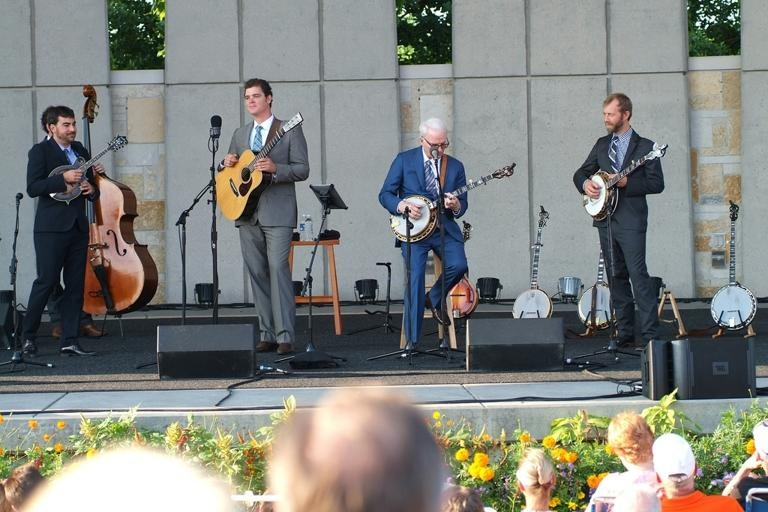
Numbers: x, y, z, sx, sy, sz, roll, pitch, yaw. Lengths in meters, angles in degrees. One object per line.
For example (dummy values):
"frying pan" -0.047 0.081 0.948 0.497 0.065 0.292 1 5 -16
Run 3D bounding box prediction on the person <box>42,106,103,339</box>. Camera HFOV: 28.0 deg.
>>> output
"person" -3.311 -0.327 16.267 0.628 2.541 0.691 -7 -13 33

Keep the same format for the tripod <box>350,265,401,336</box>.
"tripod" -0.015 0.502 18.356 0.765 0.967 0.704 -1 1 3

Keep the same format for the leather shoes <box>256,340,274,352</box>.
"leather shoes" -1.226 0.944 16.011 0.247 0.100 0.076 4 -6 -34

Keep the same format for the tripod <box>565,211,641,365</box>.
"tripod" 2.280 0.502 17.092 0.706 1.637 0.667 1 -10 -8

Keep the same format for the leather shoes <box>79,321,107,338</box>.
"leather shoes" -3.279 0.822 17.484 0.365 0.152 0.118 1 0 -7

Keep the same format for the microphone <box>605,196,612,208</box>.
"microphone" 2.367 -0.592 16.070 0.097 0.093 0.048 2 -5 -8

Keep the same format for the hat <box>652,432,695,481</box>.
"hat" 2.538 1.762 13.439 0.304 0.215 0.413 -4 34 9

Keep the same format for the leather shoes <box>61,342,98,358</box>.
"leather shoes" -3.155 0.983 15.911 0.346 0.128 0.129 -2 1 -6

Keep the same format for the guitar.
"guitar" -1.342 -0.876 15.831 1.366 0.663 0.228 -46 -18 25

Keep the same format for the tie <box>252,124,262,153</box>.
"tie" -1.312 -1.247 15.958 0.136 0.255 0.043 -6 -10 36

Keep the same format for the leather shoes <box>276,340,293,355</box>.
"leather shoes" -1.015 0.938 15.823 0.146 0.109 0.289 2 1 0

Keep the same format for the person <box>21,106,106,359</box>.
"person" -3.364 -0.318 16.083 0.821 2.603 0.744 4 -9 -35

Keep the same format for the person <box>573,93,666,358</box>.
"person" 2.434 -0.367 16.279 1.080 2.770 0.704 1 1 25

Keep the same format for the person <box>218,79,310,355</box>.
"person" -1.297 -0.442 16.041 0.828 2.894 1.012 -4 1 -39

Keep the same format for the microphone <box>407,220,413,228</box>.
"microphone" 0.269 -0.341 15.706 0.055 0.072 0.029 -1 10 1

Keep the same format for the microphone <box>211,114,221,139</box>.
"microphone" -1.732 -1.347 15.809 0.085 0.241 0.243 2 -5 -11

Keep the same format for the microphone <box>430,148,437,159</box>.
"microphone" 0.514 -1.070 15.677 0.073 0.095 0.092 1 -5 -2

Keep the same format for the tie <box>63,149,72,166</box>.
"tie" -3.347 -1.063 16.237 0.026 0.174 0.092 -23 -24 18

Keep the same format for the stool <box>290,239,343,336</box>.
"stool" -0.814 0.359 18.177 0.748 1.111 0.647 0 2 3
